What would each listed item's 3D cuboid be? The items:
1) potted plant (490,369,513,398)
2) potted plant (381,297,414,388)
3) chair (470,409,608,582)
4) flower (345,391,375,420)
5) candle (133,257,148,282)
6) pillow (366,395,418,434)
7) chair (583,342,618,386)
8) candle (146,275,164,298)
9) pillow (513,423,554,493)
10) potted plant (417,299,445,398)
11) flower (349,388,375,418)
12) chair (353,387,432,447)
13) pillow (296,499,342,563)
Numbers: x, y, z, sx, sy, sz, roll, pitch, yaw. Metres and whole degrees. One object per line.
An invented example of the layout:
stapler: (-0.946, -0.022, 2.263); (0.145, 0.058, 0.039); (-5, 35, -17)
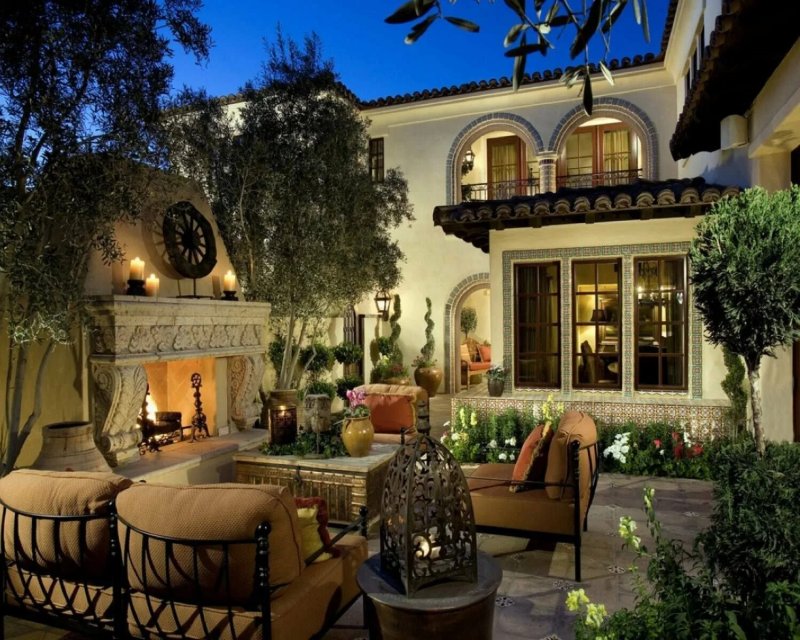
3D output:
potted plant: (1.351, 0.892, 8.529); (0.315, 0.387, 0.327); (2, -4, -17)
potted plant: (-0.092, 0.433, 14.101); (0.654, 1.818, 1.785); (2, 6, 0)
chair: (1.211, 1.366, 5.423); (0.946, 1.109, 1.475); (0, -3, 20)
flower: (-0.423, 0.858, 6.323); (0.236, 0.247, 0.466); (1, 6, -6)
candle: (-2.836, -0.531, 6.693); (0.145, 0.241, 0.375); (-1, 7, -24)
pillow: (-0.066, 1.126, 7.251); (0.435, 0.508, 0.329); (-1, -4, 10)
chair: (2.785, 0.614, 8.509); (0.430, 0.733, 0.483); (0, 3, 14)
candle: (-2.750, -0.373, 6.908); (0.167, 0.229, 0.407); (-1, 7, -23)
pillow: (1.131, 1.175, 5.143); (0.139, 0.517, 0.516); (10, 5, 21)
potted plant: (0.723, 0.655, 14.152); (0.662, 2.165, 0.824); (2, 6, 1)
flower: (-0.399, 0.845, 6.291); (0.258, 0.390, 0.286); (-1, -5, -1)
chair: (-0.089, 1.073, 7.017); (0.874, 0.751, 0.774); (0, 1, 18)
pillow: (-0.524, 1.318, 3.865); (0.339, 0.379, 0.128); (15, -30, -39)
